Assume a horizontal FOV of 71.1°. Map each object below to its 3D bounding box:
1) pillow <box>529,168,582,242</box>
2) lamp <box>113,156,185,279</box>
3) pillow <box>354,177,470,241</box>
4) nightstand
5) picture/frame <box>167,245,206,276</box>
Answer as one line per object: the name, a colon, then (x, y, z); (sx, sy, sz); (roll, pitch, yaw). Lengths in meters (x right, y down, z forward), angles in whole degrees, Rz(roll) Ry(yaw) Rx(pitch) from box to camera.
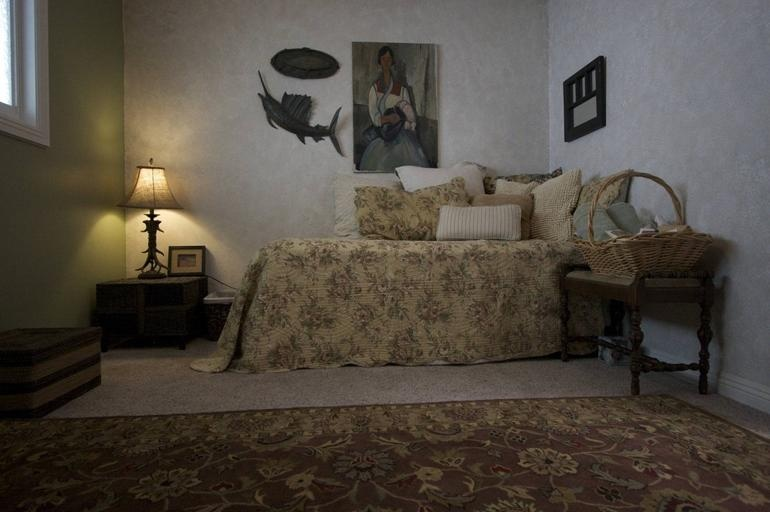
pillow: (1.366, -0.345, 4.070); (0.170, 0.489, 0.519); (14, -10, -31)
lamp: (-1.876, -0.316, 4.347); (0.459, 0.952, 0.574); (-5, 11, -24)
pillow: (0.101, -0.358, 3.942); (0.678, 0.468, 0.200); (-3, -26, -7)
nightstand: (-1.764, 0.384, 4.000); (0.577, 0.347, 0.564); (0, 1, -9)
picture/frame: (-1.663, 0.036, 4.474); (0.259, 0.225, 0.028); (0, -13, -6)
